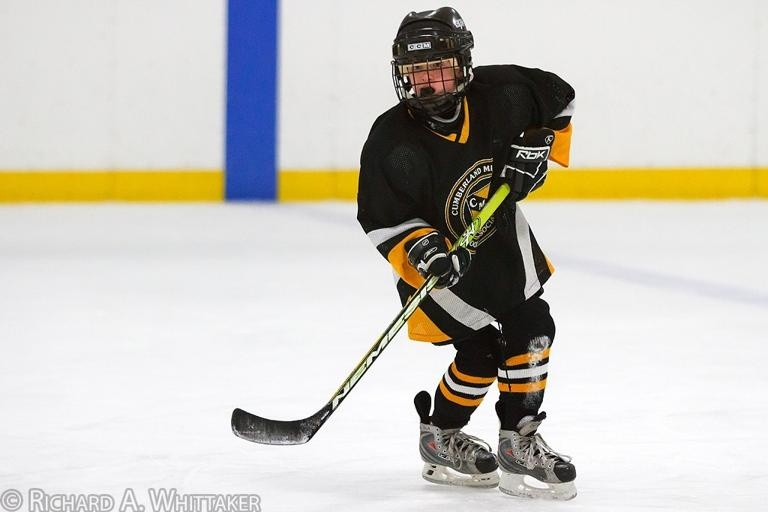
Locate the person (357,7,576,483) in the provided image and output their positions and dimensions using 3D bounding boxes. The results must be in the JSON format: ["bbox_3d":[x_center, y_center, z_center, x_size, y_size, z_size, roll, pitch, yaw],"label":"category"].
[{"bbox_3d":[0.346,-0.036,3.877,0.843,1.839,0.514,1,11,11],"label":"person"}]

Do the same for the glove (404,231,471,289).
[{"bbox_3d":[0.199,0.017,3.732,0.179,0.226,0.106,-37,3,-7],"label":"glove"}]

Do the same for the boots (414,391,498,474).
[{"bbox_3d":[0.282,0.733,3.892,0.350,0.352,0.165,3,4,30],"label":"boots"}]

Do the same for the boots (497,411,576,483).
[{"bbox_3d":[0.580,0.741,3.797,0.335,0.258,0.134,3,3,36],"label":"boots"}]
